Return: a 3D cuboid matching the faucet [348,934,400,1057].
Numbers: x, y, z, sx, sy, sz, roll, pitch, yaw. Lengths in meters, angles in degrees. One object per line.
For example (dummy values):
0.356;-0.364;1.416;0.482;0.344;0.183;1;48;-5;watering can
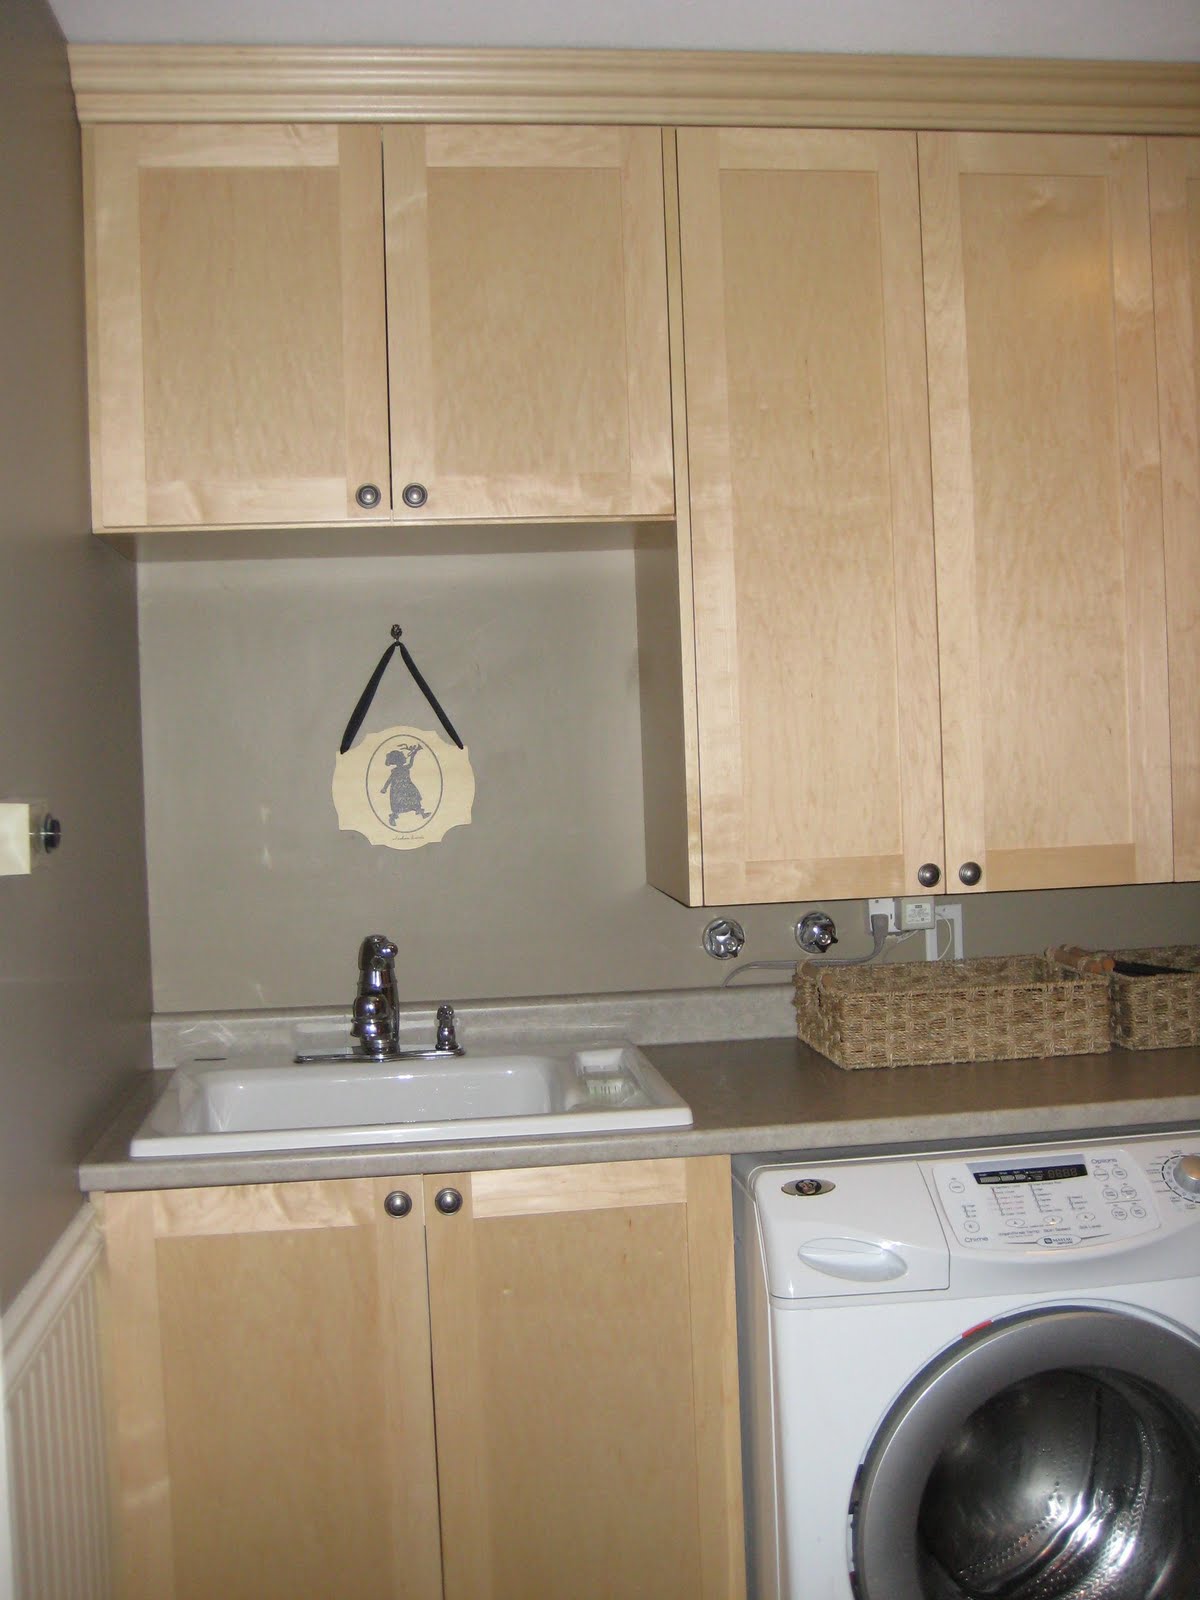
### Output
-0.336;0.296;2.159;0.070;0.064;0.179;2;-101;-21;faucet
